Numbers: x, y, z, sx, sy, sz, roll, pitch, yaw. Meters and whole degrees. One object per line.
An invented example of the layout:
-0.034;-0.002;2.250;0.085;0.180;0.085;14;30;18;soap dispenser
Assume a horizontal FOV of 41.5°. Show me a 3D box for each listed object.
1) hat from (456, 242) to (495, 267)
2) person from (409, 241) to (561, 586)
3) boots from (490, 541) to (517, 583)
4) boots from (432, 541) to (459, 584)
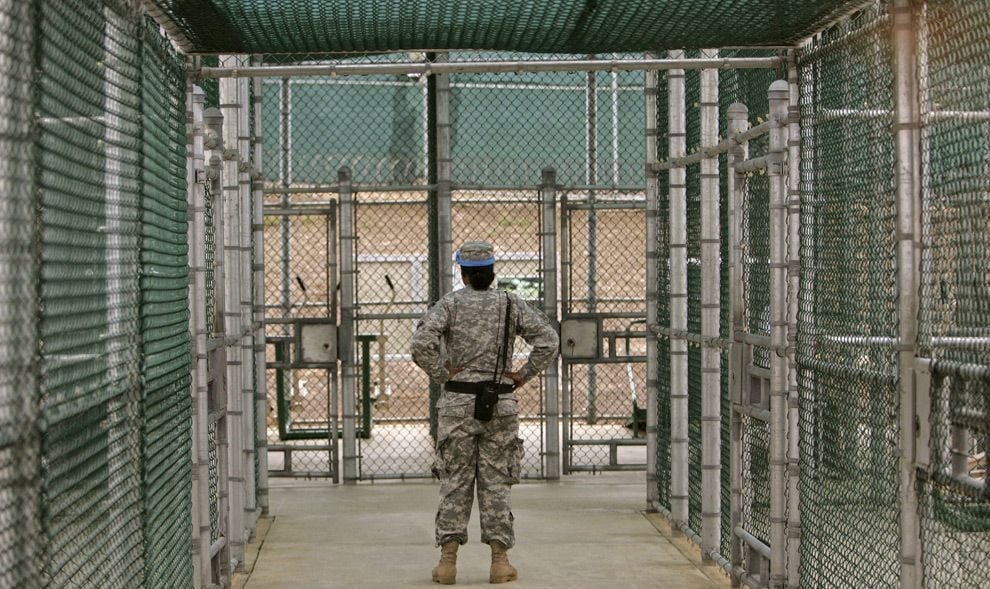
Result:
-0.145;-0.279;9.246;0.303;0.156;0.437;0;3;-1;hat
-0.182;0.794;8.963;0.709;2.291;0.357;-1;1;1;person
0.035;1.824;9.057;0.143;0.297;0.306;0;2;26;boots
-0.352;1.798;8.986;0.167;0.293;0.217;-1;2;-5;boots
